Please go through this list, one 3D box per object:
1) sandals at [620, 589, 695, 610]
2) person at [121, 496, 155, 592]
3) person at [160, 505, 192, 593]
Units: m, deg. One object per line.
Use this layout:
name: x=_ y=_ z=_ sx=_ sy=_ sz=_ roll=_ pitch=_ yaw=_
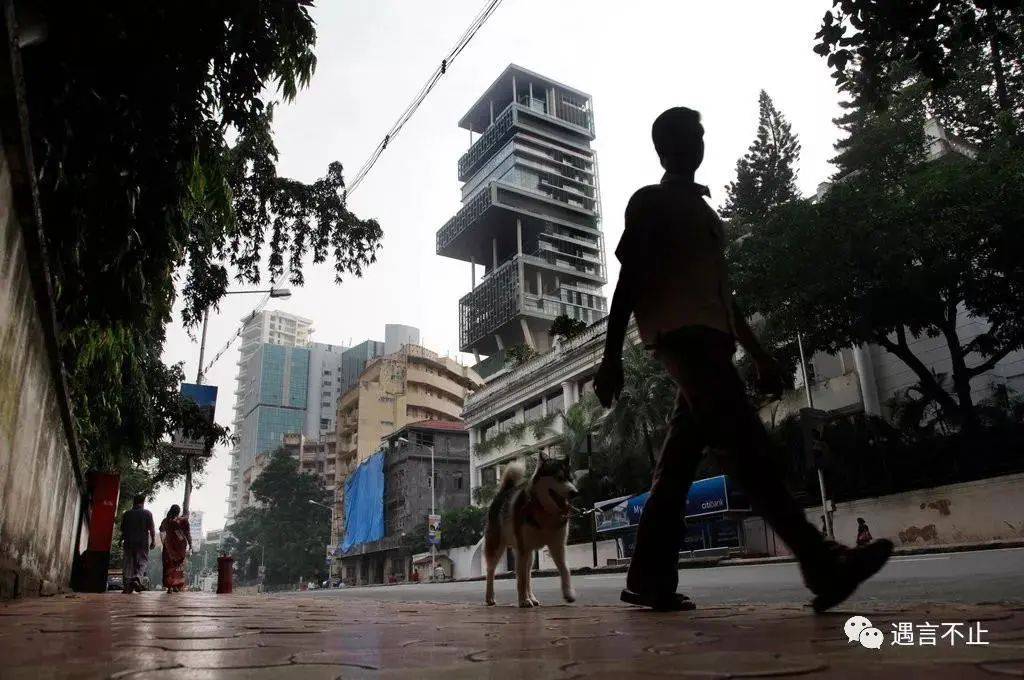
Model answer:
sandals: x=1.159 y=1.979 z=5.999 sx=0.552 sy=0.182 sz=0.229 roll=1 pitch=-14 yaw=6
person: x=-7.429 y=3.921 z=14.950 sx=0.591 sy=1.946 sz=1.580 roll=5 pitch=-18 yaw=-26
person: x=-6.924 y=4.274 z=15.430 sx=0.574 sy=1.601 sz=2.459 roll=4 pitch=-19 yaw=-24
